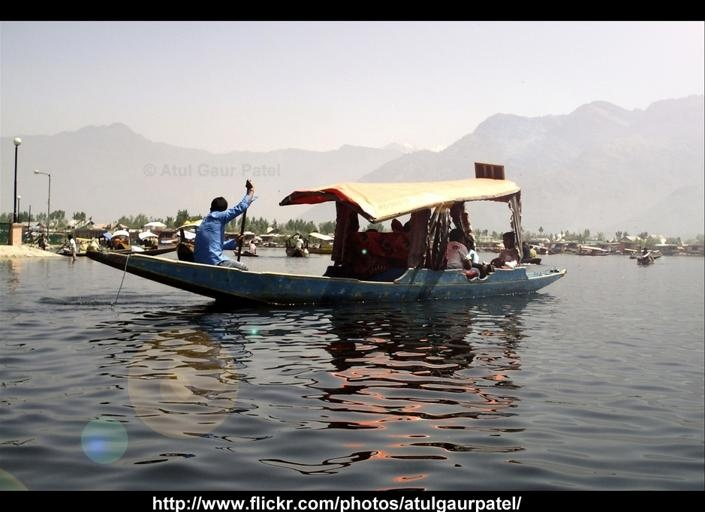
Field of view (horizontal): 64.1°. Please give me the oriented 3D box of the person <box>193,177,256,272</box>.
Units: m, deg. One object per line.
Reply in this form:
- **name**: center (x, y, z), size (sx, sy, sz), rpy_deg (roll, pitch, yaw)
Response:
- **person**: center (-3.109, -0.729, 13.345), size (1.323, 2.087, 0.846), rpy_deg (1, 6, -12)
